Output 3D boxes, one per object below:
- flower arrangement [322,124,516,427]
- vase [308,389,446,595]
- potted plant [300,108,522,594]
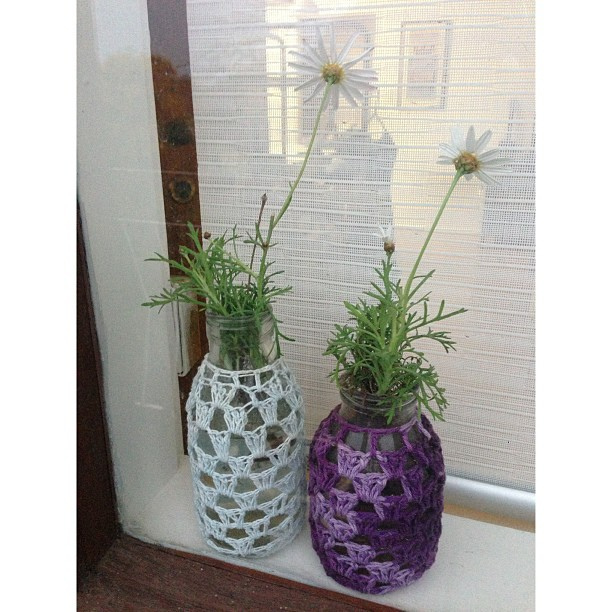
[{"bbox_3d":[0.092,-0.017,0.612,0.181,0.324,0.214,-7,18,-21],"label":"flower arrangement"},{"bbox_3d":[0.076,0.187,0.626,0.140,0.188,0.121,2,11,7],"label":"vase"},{"bbox_3d":[0.101,0.101,0.600,0.189,0.390,0.140,3,18,1],"label":"potted plant"}]
